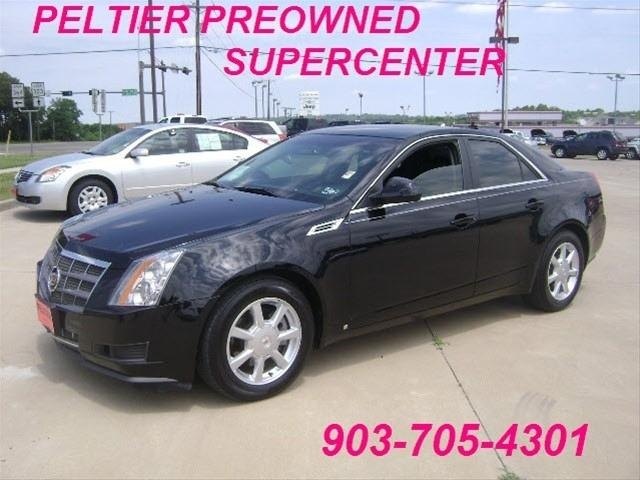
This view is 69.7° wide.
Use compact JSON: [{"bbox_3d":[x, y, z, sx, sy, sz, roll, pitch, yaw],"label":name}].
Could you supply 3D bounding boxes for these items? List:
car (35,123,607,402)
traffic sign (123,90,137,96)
[{"bbox_3d":[0.375,-0.103,4.520,5.451,2.016,2.062,-10,15,-32],"label":"car"},{"bbox_3d":[-21.648,-16.856,52.335,1.943,0.635,0.457,5,15,31],"label":"traffic sign"}]
